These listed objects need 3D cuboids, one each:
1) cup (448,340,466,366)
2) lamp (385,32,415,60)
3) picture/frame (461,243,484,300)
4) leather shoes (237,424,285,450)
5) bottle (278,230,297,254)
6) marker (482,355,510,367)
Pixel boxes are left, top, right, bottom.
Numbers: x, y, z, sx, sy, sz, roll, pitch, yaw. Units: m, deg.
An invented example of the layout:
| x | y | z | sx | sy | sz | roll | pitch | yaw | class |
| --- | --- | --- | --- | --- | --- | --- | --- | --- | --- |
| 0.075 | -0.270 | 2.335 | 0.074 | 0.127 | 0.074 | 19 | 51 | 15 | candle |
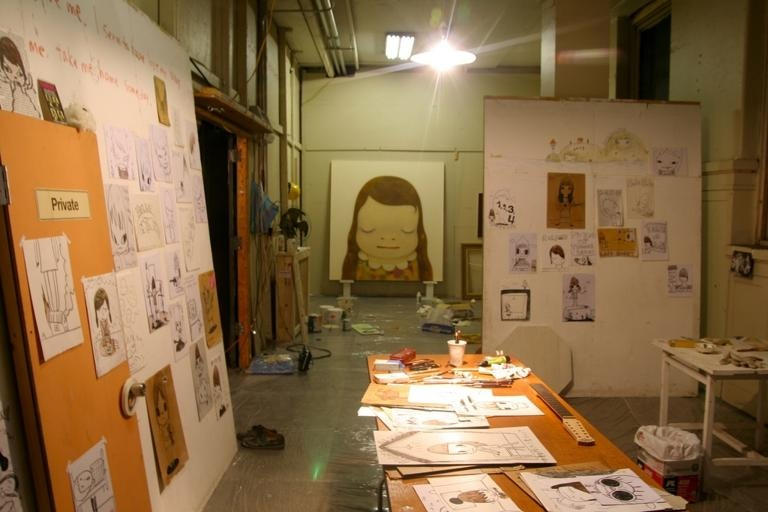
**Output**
| x | y | z | sx | sy | sz | roll | pitch | yaw | class |
| --- | --- | --- | --- | --- | --- | --- | --- | --- | --- |
| 0.485 | 0.641 | 3.535 | 0.160 | 0.162 | 0.162 | 1 | 11 | 0 | cup |
| 0.215 | -3.380 | 8.025 | 0.483 | 0.116 | 0.451 | 2 | -17 | -8 | lamp |
| 1.575 | 0.252 | 9.361 | 0.385 | 0.976 | 0.401 | 2 | 14 | 7 | picture/frame |
| -0.999 | 1.465 | 4.148 | 0.231 | 0.077 | 0.186 | 4 | 2 | 6 | leather shoes |
| -1.248 | -0.177 | 6.622 | 0.326 | 0.330 | 0.211 | 0 | 4 | 2 | bottle |
| 0.742 | 0.695 | 3.465 | 0.223 | 0.068 | 0.067 | -1 | -31 | -11 | marker |
